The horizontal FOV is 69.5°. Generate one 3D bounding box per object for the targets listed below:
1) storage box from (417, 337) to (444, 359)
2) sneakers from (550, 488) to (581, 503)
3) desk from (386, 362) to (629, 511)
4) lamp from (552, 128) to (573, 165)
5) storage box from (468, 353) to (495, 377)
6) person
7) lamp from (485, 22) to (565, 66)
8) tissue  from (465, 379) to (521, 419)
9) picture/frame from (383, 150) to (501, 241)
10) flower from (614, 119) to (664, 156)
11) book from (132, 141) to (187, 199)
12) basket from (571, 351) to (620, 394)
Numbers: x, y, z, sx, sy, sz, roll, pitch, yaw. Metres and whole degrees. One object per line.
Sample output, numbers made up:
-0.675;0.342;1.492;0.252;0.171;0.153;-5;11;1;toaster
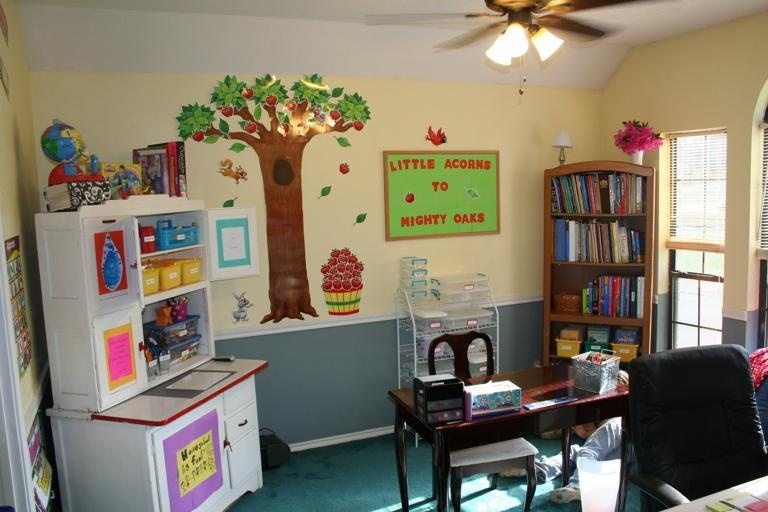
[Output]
0.447;0.848;5.161;0.213;0.268;0.274;-1;2;0;storage box
1.426;1.894;4.344;0.254;0.088;0.104;-2;8;3;sneakers
0.935;1.443;4.085;1.639;0.997;0.626;-6;8;-13;desk
1.833;-1.109;5.665;0.171;0.344;0.493;-2;8;18;lamp
0.919;1.015;5.130;0.202;0.230;0.197;-2;1;4;storage box
1.604;1.691;4.675;1.100;0.512;0.681;2;2;-28;person
0.851;-1.269;3.367;0.366;0.138;0.357;-21;16;-41;lamp
0.731;0.923;3.812;0.390;0.164;0.214;-4;9;-15;tissue 
0.519;-0.602;5.392;0.967;0.648;0.034;-2;3;-21;picture/frame
2.558;-1.195;5.506;0.376;0.365;0.390;2;9;39;flower
-1.765;-0.661;4.331;0.419;0.422;0.210;-5;8;-5;book
1.581;0.854;4.171;0.308;0.275;0.297;0;0;-45;basket
